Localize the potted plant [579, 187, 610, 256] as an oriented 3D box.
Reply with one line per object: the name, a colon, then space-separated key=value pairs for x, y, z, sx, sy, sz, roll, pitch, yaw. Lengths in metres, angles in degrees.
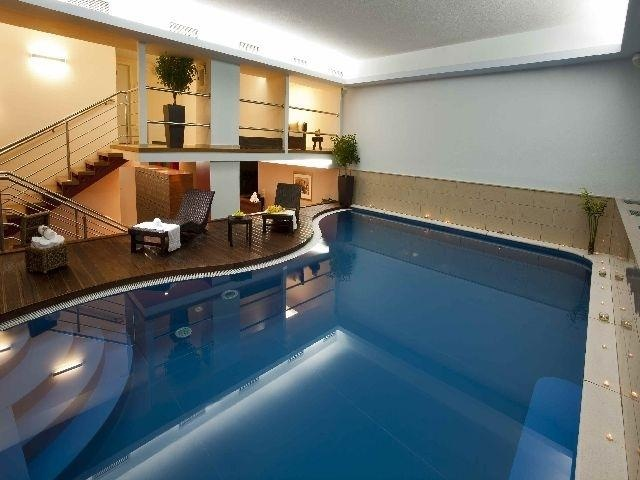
potted plant: x=6.685 y=-0.466 z=9.845 sx=0.618 sy=1.534 sz=0.673 roll=12 pitch=17 yaw=37

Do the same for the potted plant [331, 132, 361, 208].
potted plant: x=0.926 y=-2.601 z=14.709 sx=0.917 sy=2.690 sz=0.902 roll=7 pitch=14 yaw=22

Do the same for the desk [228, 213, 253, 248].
desk: x=-1.912 y=-0.266 z=9.378 sx=0.583 sy=0.634 sz=0.868 roll=-1 pitch=14 yaw=-11

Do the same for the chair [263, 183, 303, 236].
chair: x=-1.012 y=-0.931 z=10.830 sx=0.943 sy=1.108 sz=1.570 roll=6 pitch=13 yaw=11

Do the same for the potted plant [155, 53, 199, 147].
potted plant: x=-3.780 y=-3.722 z=10.488 sx=1.010 sy=2.398 sz=1.447 roll=-2 pitch=14 yaw=-18

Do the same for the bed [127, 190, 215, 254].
bed: x=-3.303 y=-0.518 z=9.024 sx=0.955 sy=1.157 sz=1.837 roll=5 pitch=15 yaw=21

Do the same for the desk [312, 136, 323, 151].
desk: x=-0.103 y=-3.765 z=15.099 sx=0.383 sy=0.485 sz=1.169 roll=2 pitch=14 yaw=-1

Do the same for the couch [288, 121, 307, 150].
couch: x=-0.806 y=-3.718 z=13.965 sx=0.636 sy=0.966 sz=1.890 roll=1 pitch=14 yaw=-4
